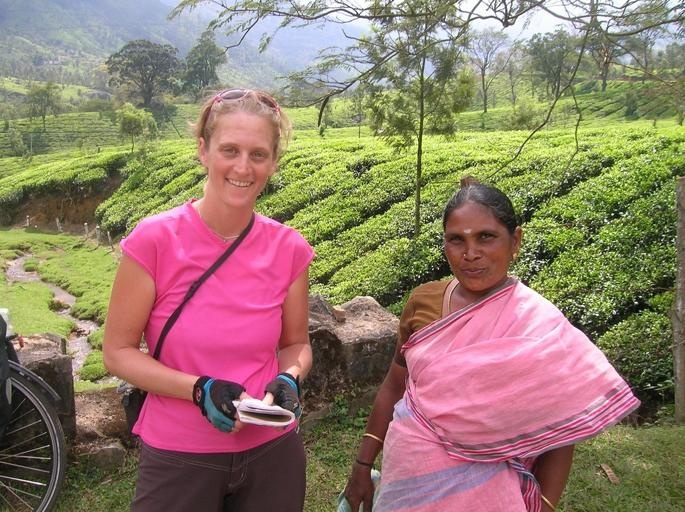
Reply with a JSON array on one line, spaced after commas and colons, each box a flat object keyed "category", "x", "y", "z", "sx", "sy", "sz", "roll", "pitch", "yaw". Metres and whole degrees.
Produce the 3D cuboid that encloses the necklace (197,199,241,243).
[{"category": "necklace", "x": -0.722, "y": -0.187, "z": 2.912, "sx": 0.258, "sy": 0.063, "sz": 0.194, "roll": 40, "pitch": -28, "yaw": 2}]
